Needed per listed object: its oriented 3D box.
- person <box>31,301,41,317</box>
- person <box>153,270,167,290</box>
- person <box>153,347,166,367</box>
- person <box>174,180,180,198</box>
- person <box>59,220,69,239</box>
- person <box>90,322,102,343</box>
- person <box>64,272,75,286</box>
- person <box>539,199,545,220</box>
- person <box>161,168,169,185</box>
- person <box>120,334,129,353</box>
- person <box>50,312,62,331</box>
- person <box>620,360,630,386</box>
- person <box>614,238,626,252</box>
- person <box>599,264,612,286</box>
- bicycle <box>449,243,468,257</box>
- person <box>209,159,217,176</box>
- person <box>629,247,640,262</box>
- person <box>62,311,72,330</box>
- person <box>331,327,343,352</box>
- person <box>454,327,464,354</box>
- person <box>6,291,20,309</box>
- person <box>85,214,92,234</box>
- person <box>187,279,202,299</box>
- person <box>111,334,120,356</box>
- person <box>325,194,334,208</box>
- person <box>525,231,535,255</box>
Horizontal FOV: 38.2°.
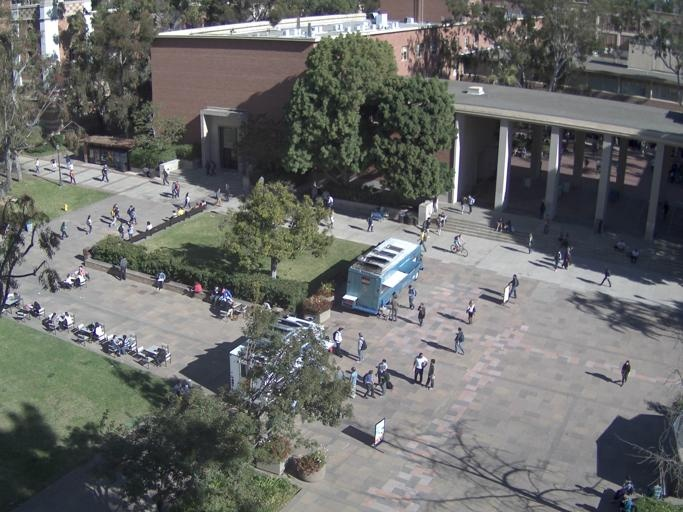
[{"bbox_3d":[-23.567,4.058,75.865,0.889,1.037,0.613,2,12,-6],"label":"person"},{"bbox_3d":[-14.758,1.984,79.989,0.872,1.959,0.686,13,47,-10],"label":"person"},{"bbox_3d":[-13.070,7.302,71.174,0.846,1.153,0.511,5,12,8],"label":"person"},{"bbox_3d":[-16.065,-6.501,95.812,0.523,1.438,1.648,1,12,-9],"label":"person"},{"bbox_3d":[-24.836,-2.480,87.858,0.634,1.461,3.411,0,13,-16],"label":"person"},{"bbox_3d":[-18.305,5.716,73.217,0.714,1.458,0.772,-16,47,-35],"label":"person"},{"bbox_3d":[-22.127,1.910,79.633,0.807,0.889,1.151,0,13,-14],"label":"person"},{"bbox_3d":[18.504,-4.252,90.584,0.514,1.579,1.590,5,12,10],"label":"person"},{"bbox_3d":[-17.717,-7.979,98.875,0.670,1.531,2.526,1,13,-10],"label":"person"},{"bbox_3d":[-15.918,6.461,72.092,0.639,1.396,0.405,2,12,-8],"label":"person"},{"bbox_3d":[-21.617,4.993,74.438,0.687,1.160,0.893,-1,13,-18],"label":"person"},{"bbox_3d":[20.527,8.248,71.030,0.678,1.672,2.026,7,13,17],"label":"person"},{"bbox_3d":[24.504,-0.864,86.097,0.832,1.009,1.668,11,-12,25],"label":"person"},{"bbox_3d":[22.018,1.599,81.827,0.973,1.586,2.180,6,13,14],"label":"person"},{"bbox_3d":[10.300,-0.484,86.282,1.548,1.043,0.819,7,29,13],"label":"bicycle"},{"bbox_3d":[-13.307,-8.946,101.005,0.564,1.319,0.609,2,12,-8],"label":"person"},{"bbox_3d":[25.239,-0.085,84.822,0.788,1.047,1.443,7,13,19],"label":"person"},{"bbox_3d":[-20.808,4.918,74.461,0.838,1.501,0.775,-9,23,-36],"label":"person"},{"bbox_3d":[-0.354,6.223,72.767,0.634,1.730,0.734,-5,42,0],"label":"person"},{"bbox_3d":[8.746,6.342,73.486,0.793,1.757,0.771,17,38,20],"label":"person"},{"bbox_3d":[-25.696,3.312,76.751,1.038,1.218,1.314,-1,13,-19],"label":"person"},{"bbox_3d":[-22.780,-2.883,88.783,0.610,1.301,2.080,0,13,-13],"label":"person"},{"bbox_3d":[-11.767,2.624,78.893,0.744,1.176,1.695,-6,-21,-32],"label":"person"},{"bbox_3d":[-16.635,6.561,72.231,1.187,1.304,0.480,5,7,35],"label":"person"},{"bbox_3d":[-1.226,-5.133,92.945,0.616,0.732,1.498,-21,6,-7],"label":"person"},{"bbox_3d":[16.682,-1.172,86.895,0.592,1.609,2.678,5,12,10],"label":"person"}]
